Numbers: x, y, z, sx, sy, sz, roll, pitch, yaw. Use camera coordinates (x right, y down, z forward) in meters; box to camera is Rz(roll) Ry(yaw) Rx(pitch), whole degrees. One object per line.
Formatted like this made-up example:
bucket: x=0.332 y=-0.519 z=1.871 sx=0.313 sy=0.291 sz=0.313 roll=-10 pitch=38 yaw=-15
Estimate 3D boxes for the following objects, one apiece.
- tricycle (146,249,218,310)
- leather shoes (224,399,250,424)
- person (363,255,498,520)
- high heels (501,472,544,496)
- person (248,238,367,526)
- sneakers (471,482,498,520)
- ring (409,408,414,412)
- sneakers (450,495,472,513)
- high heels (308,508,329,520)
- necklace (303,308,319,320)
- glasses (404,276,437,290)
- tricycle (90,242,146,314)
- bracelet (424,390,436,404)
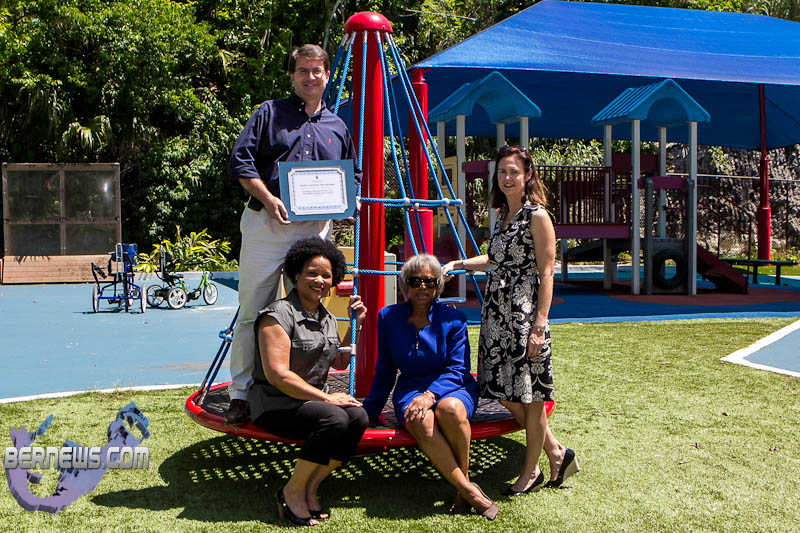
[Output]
tricycle: x=-3.896 y=0.296 z=14.205 sx=1.008 sy=0.787 sz=0.671 roll=7 pitch=14 yaw=-15
leather shoes: x=-1.332 y=1.193 z=6.219 sx=0.194 sy=0.175 sz=0.145 roll=-2 pitch=10 yaw=-12
person: x=0.199 y=0.896 z=6.110 sx=1.033 sy=1.929 sz=0.689 roll=2 pitch=10 yaw=10
high heels: x=1.014 y=1.805 z=6.228 sx=0.360 sy=0.152 sz=0.136 roll=-7 pitch=1 yaw=-22
person: x=-0.736 y=0.866 z=5.967 sx=0.773 sy=2.100 sz=0.769 roll=-5 pitch=11 yaw=-26
sneakers: x=0.639 y=1.816 z=5.928 sx=0.107 sy=0.357 sz=0.042 roll=-33 pitch=-12 yaw=-5
ring: x=0.094 y=1.121 z=5.907 sx=0.023 sy=0.024 sz=0.025 roll=-1 pitch=-2 yaw=0
sneakers: x=0.478 y=1.855 z=5.907 sx=0.170 sy=0.122 sz=0.069 roll=0 pitch=10 yaw=0
high heels: x=-0.611 y=1.915 z=5.850 sx=0.059 sy=0.042 sz=0.154 roll=3 pitch=-3 yaw=23
necklace: x=-0.709 y=0.380 z=6.070 sx=0.082 sy=0.068 sz=0.089 roll=1 pitch=0 yaw=8
glasses: x=0.174 y=0.122 z=6.161 sx=0.247 sy=0.099 sz=0.051 roll=-1 pitch=10 yaw=-2
tricycle: x=-5.196 y=0.124 z=14.350 sx=0.875 sy=1.258 sz=2.003 roll=2 pitch=12 yaw=-15
bracelet: x=0.237 y=1.030 z=5.975 sx=0.081 sy=0.048 sz=0.091 roll=45 pitch=1 yaw=4
